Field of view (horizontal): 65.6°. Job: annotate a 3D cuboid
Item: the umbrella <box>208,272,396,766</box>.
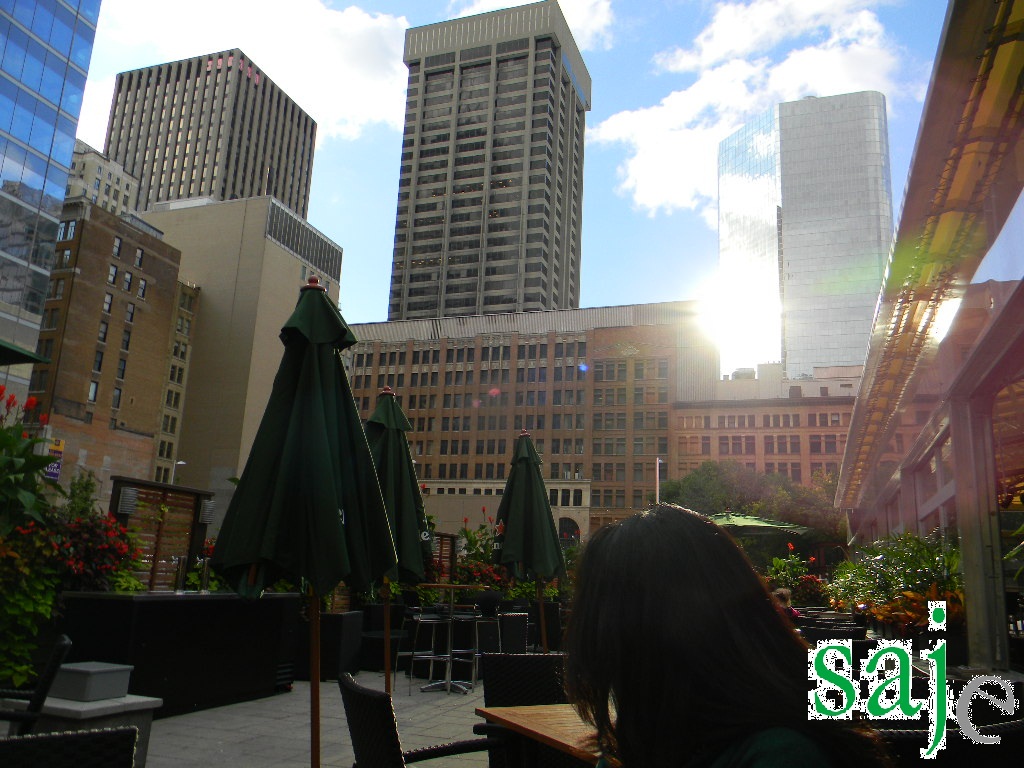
[{"bbox_3d":[-1.529,0.862,5.936,1.266,3.676,0.565,4,-14,-22],"label":"umbrella"}]
